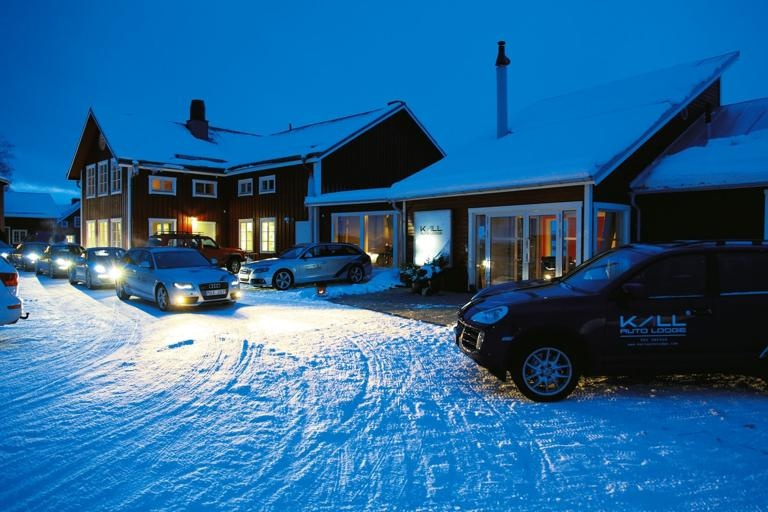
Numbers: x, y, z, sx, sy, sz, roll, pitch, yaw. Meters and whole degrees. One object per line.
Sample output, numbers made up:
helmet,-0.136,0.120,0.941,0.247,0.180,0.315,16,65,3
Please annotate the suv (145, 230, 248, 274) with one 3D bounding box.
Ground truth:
suv,-7.503,-0.297,23.993,3.869,1.786,1.846,-2,2,-28

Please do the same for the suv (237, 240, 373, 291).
suv,-2.488,0.345,20.104,3.842,1.247,1.739,1,-2,-32
